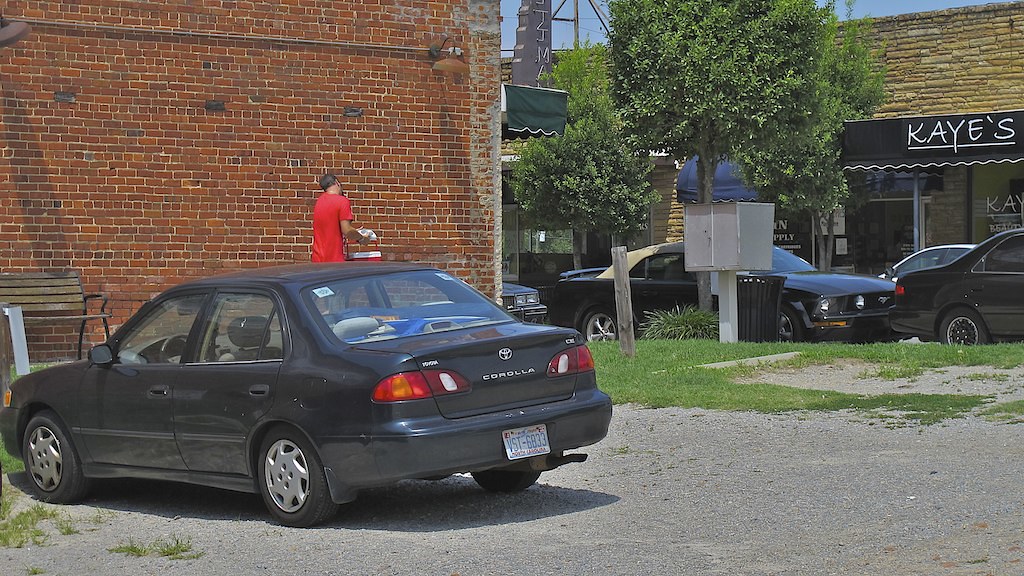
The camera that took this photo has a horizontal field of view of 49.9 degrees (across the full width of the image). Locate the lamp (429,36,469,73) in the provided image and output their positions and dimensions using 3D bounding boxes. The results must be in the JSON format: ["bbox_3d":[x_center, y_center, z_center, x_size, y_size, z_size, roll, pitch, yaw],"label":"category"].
[{"bbox_3d":[-1.177,-4.242,20.012,0.625,0.720,0.336,1,-40,-16],"label":"lamp"}]

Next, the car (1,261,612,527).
[{"bbox_3d":[-2.641,1.035,12.285,5.738,1.790,2.806,2,2,31],"label":"car"}]

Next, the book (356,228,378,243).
[{"bbox_3d":[-2.290,-0.823,17.188,0.212,0.223,0.543,-9,6,-28],"label":"book"}]
